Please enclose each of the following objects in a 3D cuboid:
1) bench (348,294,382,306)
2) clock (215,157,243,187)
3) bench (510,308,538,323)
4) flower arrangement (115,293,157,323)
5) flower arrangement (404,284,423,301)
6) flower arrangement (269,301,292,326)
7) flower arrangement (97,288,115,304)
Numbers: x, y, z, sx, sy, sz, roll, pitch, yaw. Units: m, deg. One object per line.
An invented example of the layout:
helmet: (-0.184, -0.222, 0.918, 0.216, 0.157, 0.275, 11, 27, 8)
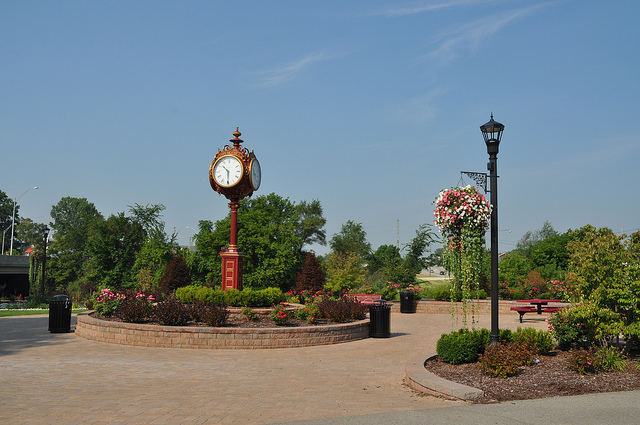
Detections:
bench: (2.757, 4.789, 42.466, 1.416, 0.353, 2.671, 1, 8, 3)
clock: (-4.159, -1.852, 34.452, 1.307, 1.301, 0.379, 3, 8, 20)
bench: (9.674, 4.801, 35.993, 0.740, 0.767, 1.906, 5, 9, 31)
flower arrangement: (-7.810, 3.822, 31.519, 1.476, 1.126, 1.592, -5, 5, -9)
flower arrangement: (5.310, 4.422, 42.399, 0.635, 0.537, 0.628, 3, -1, -4)
flower arrangement: (-1.562, 4.178, 31.038, 0.911, 0.898, 0.802, 6, -14, -44)
flower arrangement: (-9.222, 3.567, 32.575, 0.674, 0.558, 0.618, -1, -13, -5)
